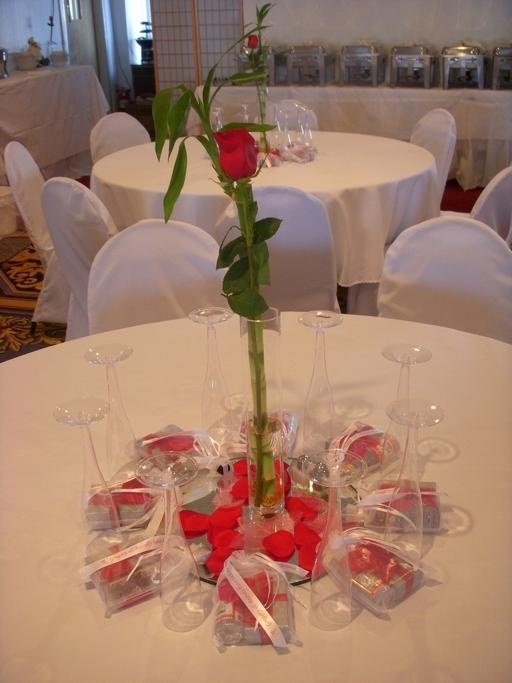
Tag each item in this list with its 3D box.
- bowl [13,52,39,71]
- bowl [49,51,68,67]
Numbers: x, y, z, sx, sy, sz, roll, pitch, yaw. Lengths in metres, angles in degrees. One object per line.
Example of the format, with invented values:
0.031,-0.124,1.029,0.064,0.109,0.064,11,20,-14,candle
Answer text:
-2.698,-3.246,6.260,0.271,0.203,0.266,1,26,-1,bowl
-2.353,-3.314,6.340,0.235,0.184,0.244,1,25,-1,bowl
